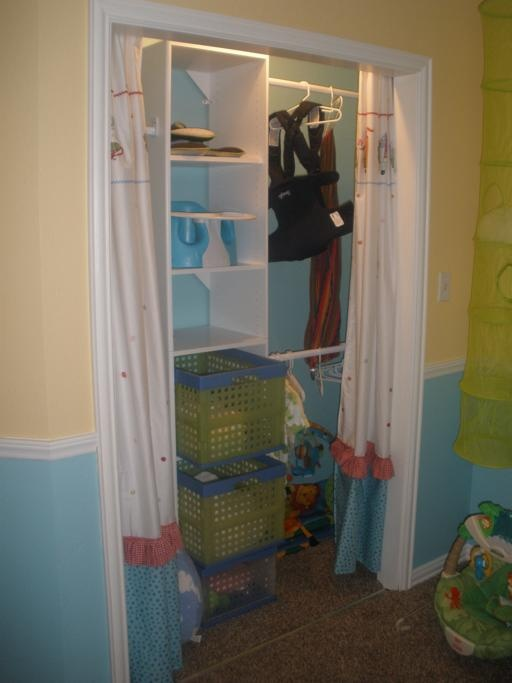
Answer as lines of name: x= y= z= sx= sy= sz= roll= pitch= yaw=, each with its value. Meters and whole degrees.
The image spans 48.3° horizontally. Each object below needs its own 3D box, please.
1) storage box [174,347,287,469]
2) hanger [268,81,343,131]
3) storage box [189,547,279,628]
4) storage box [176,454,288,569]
storage box: x=-0.173 y=0.272 z=2.148 sx=0.437 sy=0.415 sz=0.485 roll=6 pitch=3 yaw=23
hanger: x=0.195 y=-0.975 z=2.354 sx=0.327 sy=0.197 sz=0.159 roll=-18 pitch=37 yaw=-24
storage box: x=-0.079 y=0.787 z=2.101 sx=0.338 sy=0.290 sz=0.196 roll=-3 pitch=2 yaw=-42
storage box: x=-0.192 y=0.640 z=2.139 sx=0.370 sy=0.310 sz=0.429 roll=2 pitch=-5 yaw=5
